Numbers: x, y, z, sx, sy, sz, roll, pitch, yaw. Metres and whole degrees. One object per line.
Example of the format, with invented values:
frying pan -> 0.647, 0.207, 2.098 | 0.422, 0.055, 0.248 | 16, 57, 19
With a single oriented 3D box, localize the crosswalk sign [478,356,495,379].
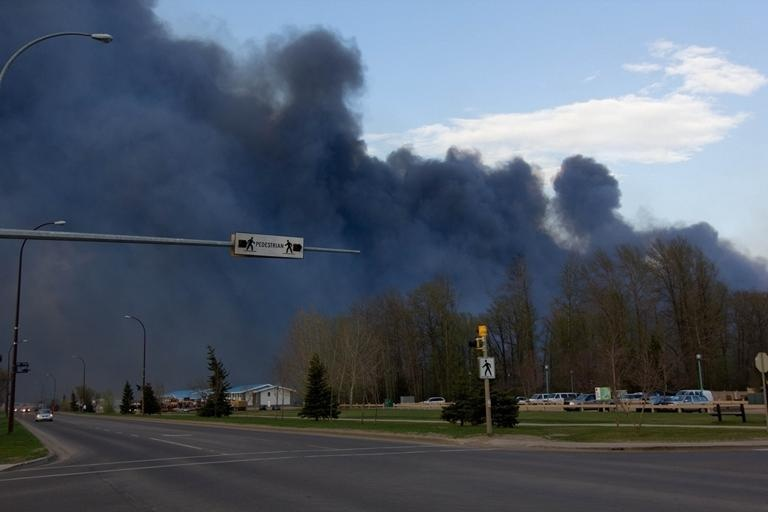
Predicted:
crosswalk sign -> 7.069, 7.841, 60.764 | 1.445, 1.858, 0.578 | 0, -1, 0
